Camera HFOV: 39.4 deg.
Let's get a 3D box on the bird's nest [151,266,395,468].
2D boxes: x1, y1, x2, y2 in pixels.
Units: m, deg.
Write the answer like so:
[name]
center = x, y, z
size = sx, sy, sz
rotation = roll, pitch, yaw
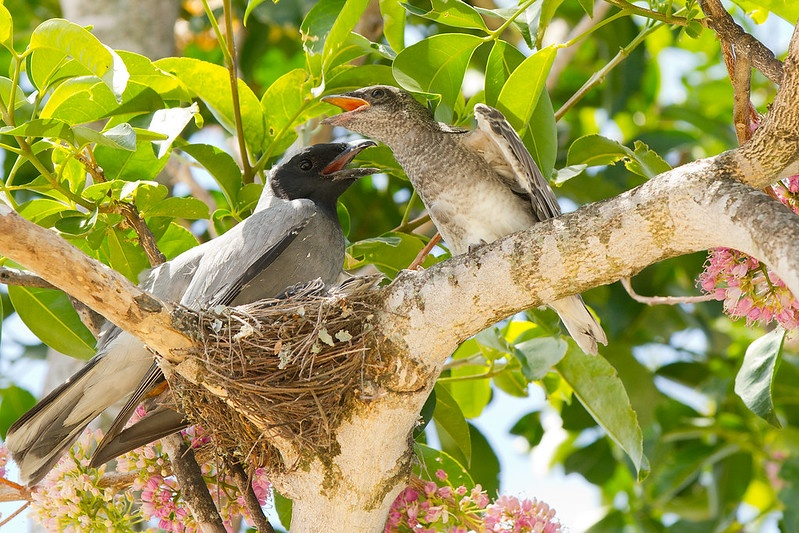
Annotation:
[bird's nest]
center = -0.489, 0.437, 4.824
size = 0.857, 0.857, 0.502
rotation = 36, -32, 26
